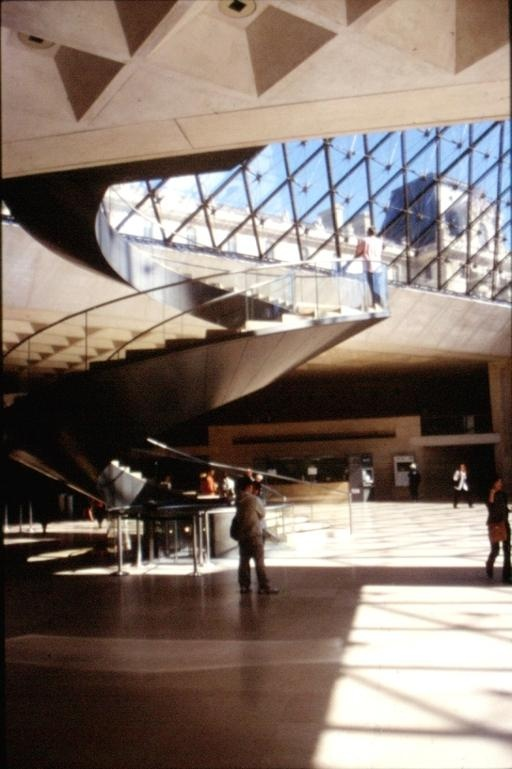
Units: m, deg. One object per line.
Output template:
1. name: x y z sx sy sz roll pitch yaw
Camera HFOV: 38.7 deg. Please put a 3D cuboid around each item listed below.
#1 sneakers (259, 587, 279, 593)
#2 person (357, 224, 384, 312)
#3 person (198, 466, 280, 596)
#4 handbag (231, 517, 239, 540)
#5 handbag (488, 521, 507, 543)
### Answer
1. sneakers: 0.152 2.654 9.361 0.273 0.105 0.097 1 -3 -7
2. person: 2.592 -2.538 16.630 0.487 1.662 0.806 -3 -3 17
3. person: -0.044 1.944 9.256 0.532 1.492 0.744 -2 -3 0
4. handbag: -0.273 1.786 9.022 0.059 0.239 0.176 3 -10 -14
5. handbag: 2.966 1.805 8.929 0.244 0.253 0.147 -6 -11 20
